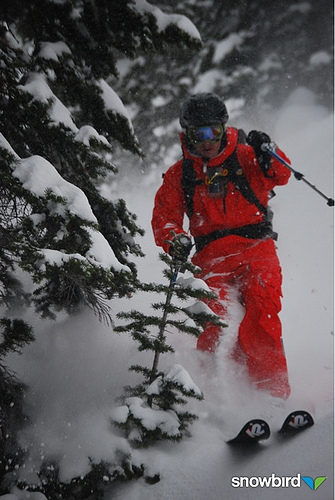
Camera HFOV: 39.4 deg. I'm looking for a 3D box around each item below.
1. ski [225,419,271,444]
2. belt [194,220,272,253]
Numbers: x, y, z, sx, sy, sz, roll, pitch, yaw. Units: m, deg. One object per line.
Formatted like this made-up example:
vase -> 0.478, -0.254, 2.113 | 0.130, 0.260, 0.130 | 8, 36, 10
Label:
ski -> 0.623, 1.465, 3.686 | 0.365, 0.289, 0.051 | -24, 35, 4
belt -> 0.604, -0.114, 4.349 | 0.713, 0.209, 0.121 | -19, 36, 11
